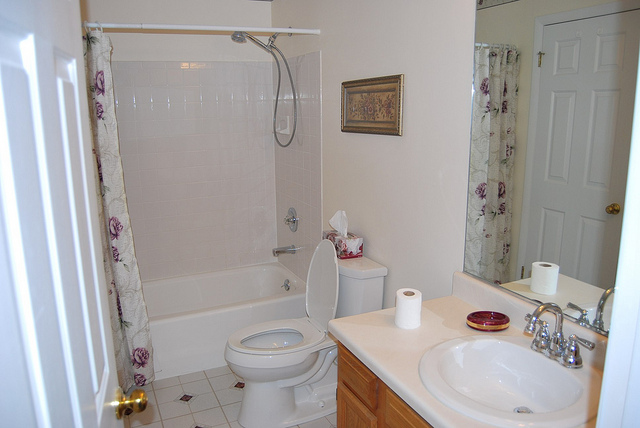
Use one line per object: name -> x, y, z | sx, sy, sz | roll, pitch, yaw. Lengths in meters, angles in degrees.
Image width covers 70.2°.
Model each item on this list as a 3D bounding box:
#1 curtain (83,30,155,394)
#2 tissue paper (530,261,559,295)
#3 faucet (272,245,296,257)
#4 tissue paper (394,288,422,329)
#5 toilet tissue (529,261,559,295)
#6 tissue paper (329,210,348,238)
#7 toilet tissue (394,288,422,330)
curtain -> -1.216, 0.100, 2.714 | 0.240, 2.236, 0.200 | -12, 17, -35
tissue paper -> 0.894, 0.258, 1.810 | 0.097, 0.109, 0.096 | -10, 12, -41
faucet -> -0.292, 0.311, 3.682 | 0.166, 0.071, 0.091 | -3, 10, -25
tissue paper -> 0.368, 0.395, 1.896 | 0.115, 0.132, 0.116 | -13, 20, -39
toilet tissue -> 0.893, 0.258, 1.811 | 0.096, 0.112, 0.097 | 9, 14, 43
tissue paper -> 0.122, 0.067, 2.898 | 0.159, 0.191, 0.078 | 4, 13, 41
toilet tissue -> 0.354, 0.381, 1.864 | 0.132, 0.154, 0.135 | 0, 11, -1
